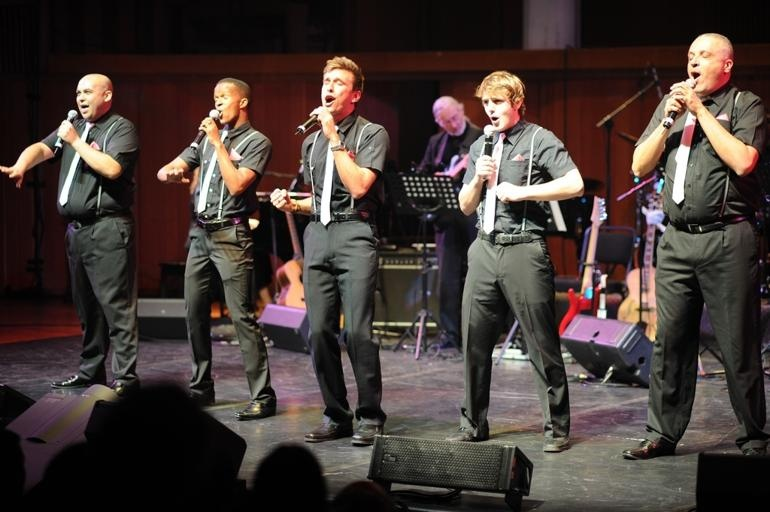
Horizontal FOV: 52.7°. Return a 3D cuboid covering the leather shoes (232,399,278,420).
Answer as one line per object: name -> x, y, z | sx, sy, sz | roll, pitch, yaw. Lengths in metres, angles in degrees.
leather shoes -> -0.883, 1.073, 5.442 | 0.241, 0.100, 0.121 | 5, -7, -31

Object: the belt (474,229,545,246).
belt -> 0.765, -0.111, 4.736 | 0.384, 0.086, 0.102 | 1, 5, 12

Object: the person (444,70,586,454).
person -> 0.809, 0.039, 4.749 | 0.750, 2.309, 0.459 | 0, 5, 12

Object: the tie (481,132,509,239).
tie -> 0.660, -0.404, 4.756 | 0.104, 0.719, 0.067 | 11, 0, 2

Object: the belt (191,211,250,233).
belt -> -1.185, -0.238, 5.589 | 0.422, 0.120, 0.176 | 0, 5, 1

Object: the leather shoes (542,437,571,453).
leather shoes -> 1.053, 1.149, 4.777 | 0.196, 0.082, 0.067 | 10, -9, -43

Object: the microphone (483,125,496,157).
microphone -> 0.632, -0.700, 4.748 | 0.062, 0.188, 0.147 | 1, 5, 20

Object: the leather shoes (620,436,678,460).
leather shoes -> 1.584, 1.149, 4.711 | 0.351, 0.139, 0.122 | 1, -6, -14

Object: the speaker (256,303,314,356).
speaker -> -1.007, 0.723, 7.987 | 0.677, 0.463, 0.540 | 5, 11, 41

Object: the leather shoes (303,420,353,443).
leather shoes -> -0.361, 1.127, 5.034 | 0.303, 0.124, 0.119 | 2, -5, -25

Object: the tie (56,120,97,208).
tie -> -2.313, -0.692, 5.873 | 0.251, 0.628, 0.159 | -5, 7, -45

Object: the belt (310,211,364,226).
belt -> -0.302, -0.235, 4.971 | 0.337, 0.090, 0.090 | 0, 5, 3

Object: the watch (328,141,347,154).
watch -> -0.297, -0.661, 4.826 | 0.085, 0.057, 0.091 | 1, -5, 9

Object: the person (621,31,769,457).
person -> 1.872, -0.050, 4.601 | 0.778, 2.505, 0.416 | 1, 5, 17

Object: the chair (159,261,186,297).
chair -> -2.958, 0.303, 10.995 | 0.471, 0.347, 0.463 | -11, -6, -15

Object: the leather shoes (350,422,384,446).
leather shoes -> -0.114, 1.125, 4.909 | 0.124, 0.129, 0.328 | -4, -12, 16

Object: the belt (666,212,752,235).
belt -> 1.917, -0.188, 4.607 | 0.477, 0.119, 0.165 | 1, 5, 20

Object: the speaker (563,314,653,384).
speaker -> 1.848, 0.792, 6.508 | 0.500, 0.276, 0.573 | 45, -18, -20

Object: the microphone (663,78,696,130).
microphone -> 1.758, -0.921, 4.647 | 0.100, 0.094, 0.494 | 29, 46, 13
